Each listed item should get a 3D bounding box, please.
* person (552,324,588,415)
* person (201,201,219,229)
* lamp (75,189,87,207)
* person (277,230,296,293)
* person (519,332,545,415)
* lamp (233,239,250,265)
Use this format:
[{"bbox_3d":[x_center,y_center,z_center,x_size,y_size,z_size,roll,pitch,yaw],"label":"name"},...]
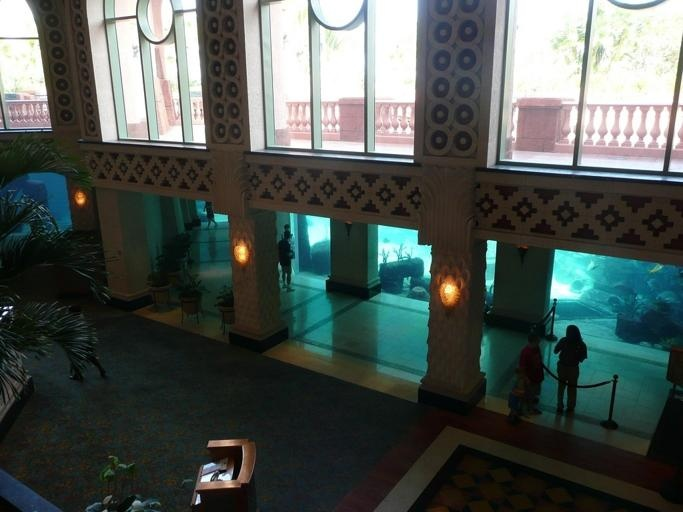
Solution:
[{"bbox_3d":[3.799,1.866,8.145,0.461,1.680,0.589,8,18,28],"label":"person"},{"bbox_3d":[-4.025,-1.277,14.767,0.368,0.958,0.913,-6,17,-15],"label":"person"},{"bbox_3d":[-7.062,-1.568,13.045,0.414,0.473,0.153,7,18,26],"label":"lamp"},{"bbox_3d":[-1.566,-0.001,13.542,0.400,1.809,0.799,-4,16,-8],"label":"person"},{"bbox_3d":[3.177,1.911,8.158,0.382,1.601,0.803,6,18,24],"label":"person"},{"bbox_3d":[-2.024,-0.097,9.758,0.139,0.446,0.428,-10,11,-44],"label":"lamp"}]
